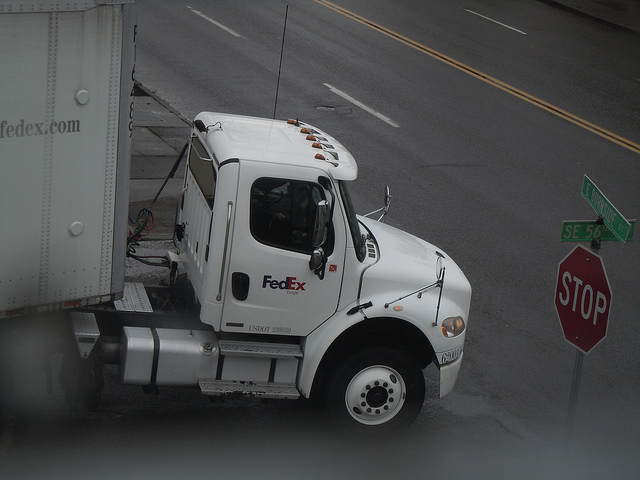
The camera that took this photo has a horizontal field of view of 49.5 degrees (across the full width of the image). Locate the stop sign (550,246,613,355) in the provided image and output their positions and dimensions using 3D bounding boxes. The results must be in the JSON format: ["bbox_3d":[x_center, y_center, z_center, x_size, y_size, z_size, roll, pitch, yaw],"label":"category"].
[{"bbox_3d":[2.815,0.643,7.424,0.161,1.098,0.812,-4,21,-25],"label":"stop sign"}]
